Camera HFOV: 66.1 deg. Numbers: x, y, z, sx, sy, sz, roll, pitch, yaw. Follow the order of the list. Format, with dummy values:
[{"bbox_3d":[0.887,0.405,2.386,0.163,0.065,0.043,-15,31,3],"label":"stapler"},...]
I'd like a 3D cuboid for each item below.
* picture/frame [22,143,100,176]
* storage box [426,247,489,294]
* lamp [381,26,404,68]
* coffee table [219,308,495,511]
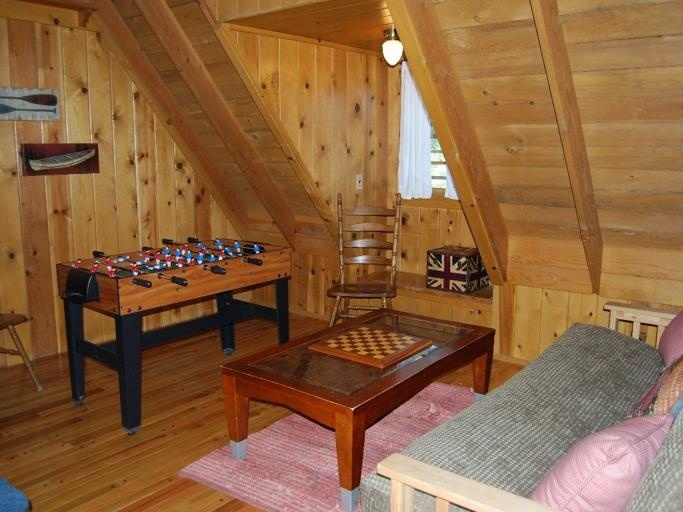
[{"bbox_3d":[-2.124,-0.748,3.999,0.692,0.237,0.057,1,8,12],"label":"picture/frame"},{"bbox_3d":[0.910,0.109,4.348,0.444,0.296,0.456,6,9,43],"label":"storage box"},{"bbox_3d":[0.358,-1.528,3.793,0.175,0.206,0.168,2,18,30],"label":"lamp"},{"bbox_3d":[0.026,0.568,2.704,0.951,0.436,1.494,7,15,37],"label":"coffee table"}]
